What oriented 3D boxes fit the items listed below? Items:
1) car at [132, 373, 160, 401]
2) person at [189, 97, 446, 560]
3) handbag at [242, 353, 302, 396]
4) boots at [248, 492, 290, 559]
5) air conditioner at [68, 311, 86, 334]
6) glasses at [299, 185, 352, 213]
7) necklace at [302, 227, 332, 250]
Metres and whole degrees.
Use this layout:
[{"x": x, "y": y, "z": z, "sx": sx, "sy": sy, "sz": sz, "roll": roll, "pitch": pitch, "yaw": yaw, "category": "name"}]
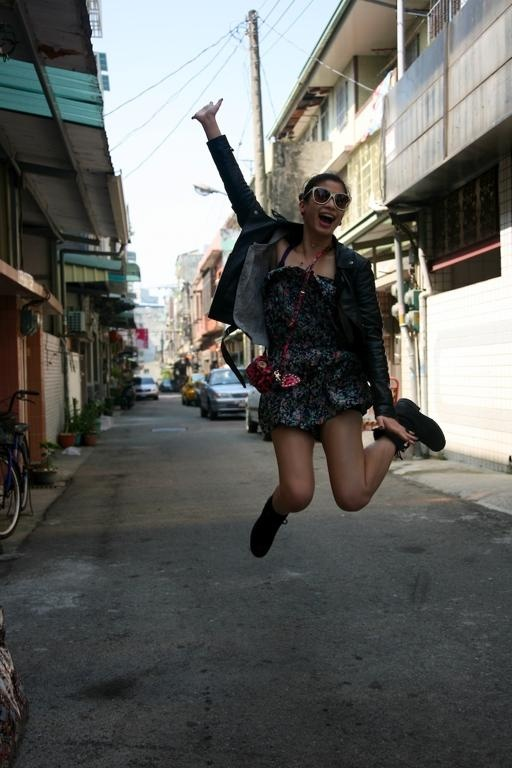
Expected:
[{"x": -8.586, "y": 0.398, "z": 50.630, "sx": 1.745, "sy": 1.390, "sz": 2.440, "roll": -3, "pitch": 2, "yaw": -10, "category": "car"}, {"x": 0.156, "y": -0.351, "z": 2.564, "sx": 0.708, "sy": 1.630, "sz": 0.480, "roll": -2, "pitch": 2, "yaw": 34, "category": "person"}, {"x": 0.064, "y": -0.034, "z": 2.539, "sx": 0.177, "sy": 0.138, "sz": 0.100, "roll": 8, "pitch": -15, "yaw": 21, "category": "handbag"}, {"x": 0.016, "y": 0.653, "z": 2.982, "sx": 0.118, "sy": 0.371, "sz": 0.152, "roll": 30, "pitch": 25, "yaw": 29, "category": "boots"}, {"x": -4.759, "y": -1.662, "z": 17.281, "sx": 0.437, "sy": 0.465, "sz": 0.526, "roll": -3, "pitch": 2, "yaw": -17, "category": "air conditioner"}, {"x": 0.267, "y": -0.711, "z": 2.548, "sx": 0.193, "sy": 0.104, "sz": 0.158, "roll": -2, "pitch": 2, "yaw": 6, "category": "glasses"}, {"x": 0.236, "y": -0.556, "z": 2.543, "sx": 0.090, "sy": 0.094, "sz": 0.111, "roll": 5, "pitch": 9, "yaw": -7, "category": "necklace"}]
